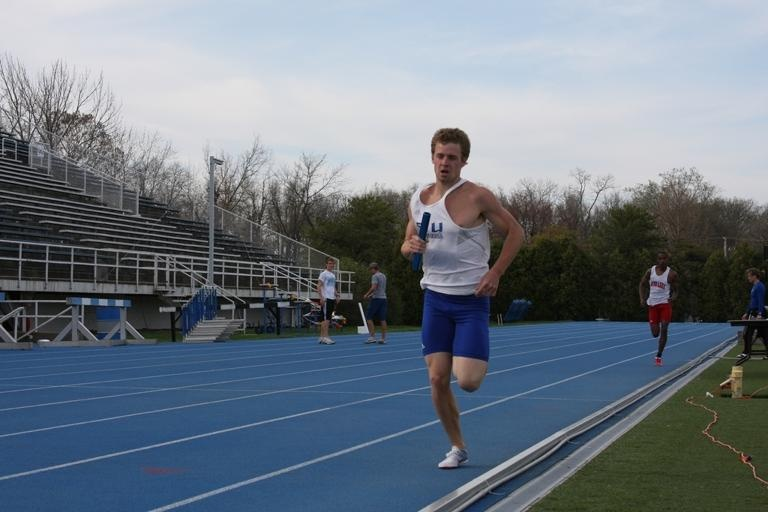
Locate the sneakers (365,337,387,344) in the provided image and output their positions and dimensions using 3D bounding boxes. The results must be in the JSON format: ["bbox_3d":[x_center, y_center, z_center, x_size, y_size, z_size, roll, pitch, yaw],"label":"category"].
[{"bbox_3d":[-0.205,2.312,19.678,0.637,0.264,0.225,2,-9,5],"label":"sneakers"}]

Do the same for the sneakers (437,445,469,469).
[{"bbox_3d":[0.582,1.832,6.517,0.346,0.141,0.119,1,-15,-32],"label":"sneakers"}]

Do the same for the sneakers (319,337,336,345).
[{"bbox_3d":[-1.517,2.275,19.253,0.452,0.182,0.197,-6,-7,42],"label":"sneakers"}]

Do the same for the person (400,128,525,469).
[{"bbox_3d":[0.643,0.390,6.445,1.010,2.324,0.528,1,-1,25],"label":"person"}]
